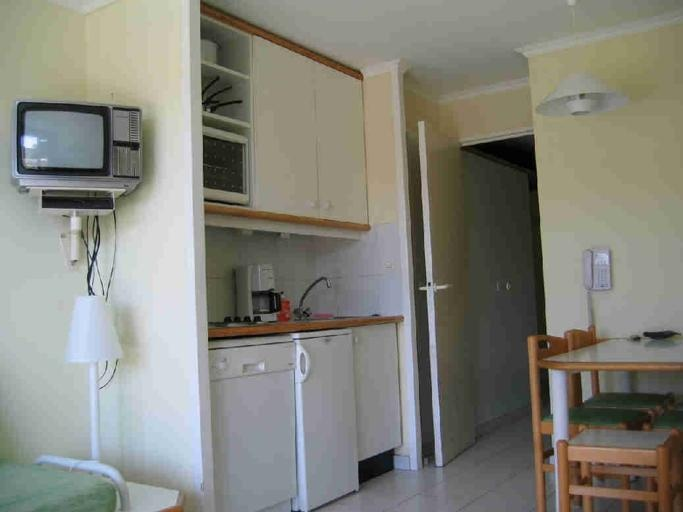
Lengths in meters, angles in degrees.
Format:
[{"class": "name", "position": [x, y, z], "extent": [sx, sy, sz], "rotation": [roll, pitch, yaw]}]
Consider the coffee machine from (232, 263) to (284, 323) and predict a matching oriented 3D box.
[{"class": "coffee machine", "position": [-0.573, 0.247, 3.985], "extent": [0.376, 0.521, 0.323], "rotation": [-3, -2, 38]}]

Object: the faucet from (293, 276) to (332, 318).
[{"class": "faucet", "position": [-0.220, 0.319, 4.524], "extent": [0.292, 0.324, 0.531], "rotation": [-2, 0, 0]}]

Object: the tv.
[{"class": "tv", "position": [-1.379, -0.587, 3.068], "extent": [0.674, 0.484, 0.450], "rotation": [-1, 1, -29]}]

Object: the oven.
[{"class": "oven", "position": [-0.679, -0.586, 3.703], "extent": [0.458, 0.450, 0.321], "rotation": [9, 15, 22]}]

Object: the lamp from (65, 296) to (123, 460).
[{"class": "lamp", "position": [-1.319, 0.636, 3.116], "extent": [0.265, 0.896, 0.337], "rotation": [-3, 0, -25]}]
